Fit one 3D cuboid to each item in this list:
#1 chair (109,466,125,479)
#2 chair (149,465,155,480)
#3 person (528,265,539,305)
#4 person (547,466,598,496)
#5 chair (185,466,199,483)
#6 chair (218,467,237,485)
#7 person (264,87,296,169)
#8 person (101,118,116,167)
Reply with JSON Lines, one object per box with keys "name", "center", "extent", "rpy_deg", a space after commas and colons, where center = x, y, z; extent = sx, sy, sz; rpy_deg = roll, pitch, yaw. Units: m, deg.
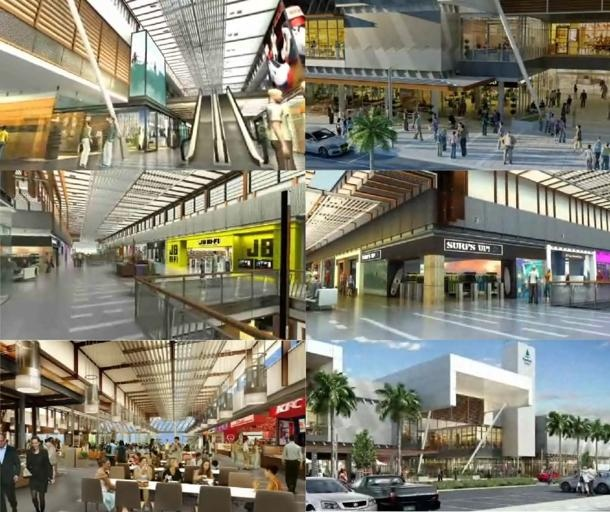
{"name": "chair", "center": [-3.918, 4.525, 13.197], "extent": [0.193, 0.309, 0.216], "rpy_deg": [10, -14, -41]}
{"name": "chair", "center": [-3.186, 4.552, 13.251], "extent": [0.147, 0.265, 0.182], "rpy_deg": [1, -16, -1]}
{"name": "person", "center": [6.400, 0.812, 17.641], "extent": [0.191, 0.993, 0.503], "rpy_deg": [0, -4, -3]}
{"name": "person", "center": [5.990, 4.898, 13.745], "extent": [0.675, 0.425, 0.423], "rpy_deg": [0, -13, 16]}
{"name": "chair", "center": [-2.349, 4.570, 13.195], "extent": [0.222, 0.380, 0.301], "rpy_deg": [0, -31, 2]}
{"name": "chair", "center": [-1.557, 4.431, 12.745], "extent": [0.235, 0.367, 0.294], "rpy_deg": [1, -36, 3]}
{"name": "person", "center": [-0.528, -2.793, 14.127], "extent": [0.602, 1.835, 0.352], "rpy_deg": [0, -4, -5]}
{"name": "person", "center": [-4.248, -2.453, 13.683], "extent": [0.251, 1.093, 0.103], "rpy_deg": [1, -4, -18]}
